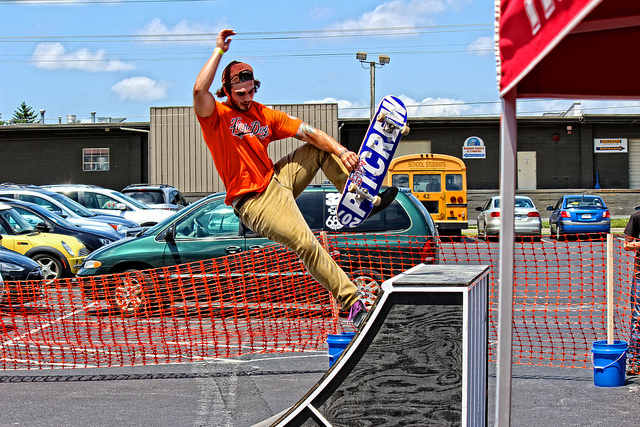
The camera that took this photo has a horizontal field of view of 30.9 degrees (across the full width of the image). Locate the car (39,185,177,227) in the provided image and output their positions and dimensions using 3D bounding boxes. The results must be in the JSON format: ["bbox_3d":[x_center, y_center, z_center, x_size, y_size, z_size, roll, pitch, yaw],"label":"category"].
[{"bbox_3d":[-5.453,-0.250,30.295,5.101,1.465,1.900,-1,0,-15],"label":"car"}]

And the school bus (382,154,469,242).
[{"bbox_3d":[3.140,-0.670,34.514,2.919,2.468,4.468,0,-10,20],"label":"school bus"}]

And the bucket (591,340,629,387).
[{"bbox_3d":[4.138,2.141,16.598,0.504,0.626,0.462,-3,0,0],"label":"bucket"}]

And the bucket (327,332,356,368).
[{"bbox_3d":[0.255,1.884,15.904,0.499,0.431,0.469,-1,-1,0],"label":"bucket"}]
